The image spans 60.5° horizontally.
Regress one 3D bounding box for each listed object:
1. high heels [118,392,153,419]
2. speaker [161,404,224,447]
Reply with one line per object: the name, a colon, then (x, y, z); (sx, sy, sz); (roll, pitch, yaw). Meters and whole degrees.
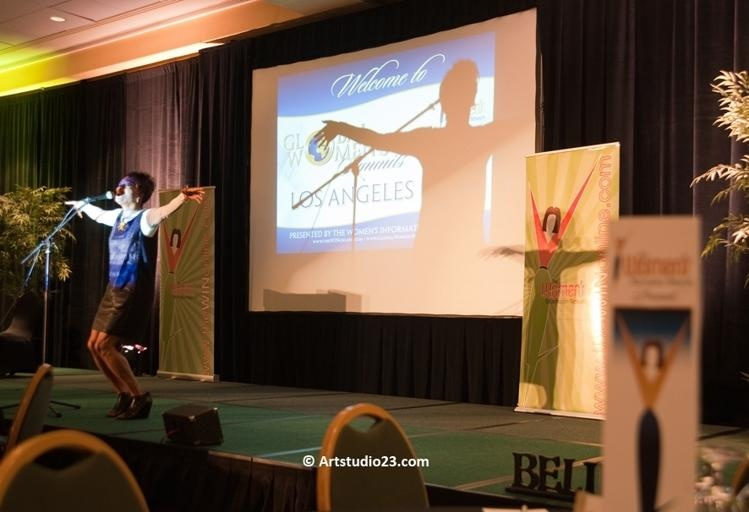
high heels: (-1.679, 1.069, 4.582); (0.293, 0.234, 0.121); (0, -7, -11)
speaker: (-1.041, 0.980, 3.775); (0.241, 0.205, 0.251); (-3, -1, 35)
